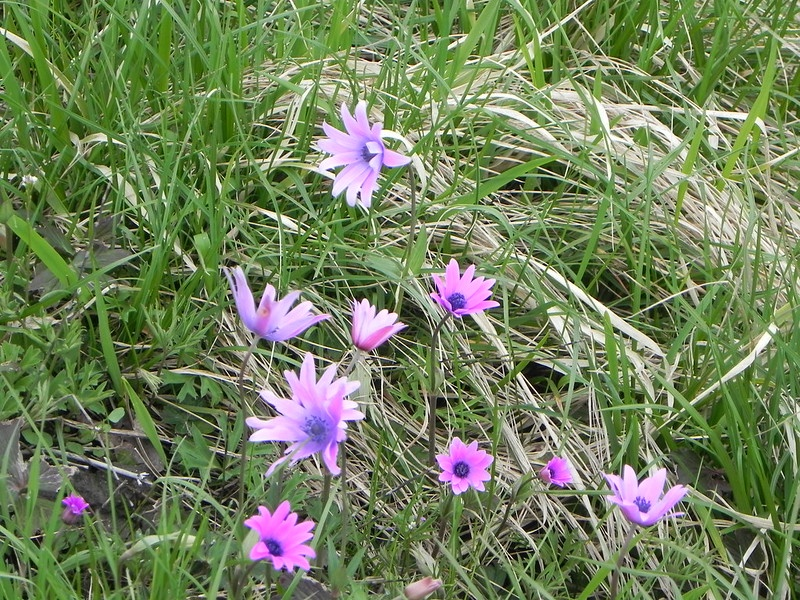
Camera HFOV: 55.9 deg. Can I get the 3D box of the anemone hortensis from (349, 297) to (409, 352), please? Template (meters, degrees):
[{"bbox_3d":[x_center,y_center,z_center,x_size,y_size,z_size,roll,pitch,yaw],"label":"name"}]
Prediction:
[{"bbox_3d":[-0.065,0.051,2.153,0.130,0.153,0.138,23,111,-19],"label":"anemone hortensis"}]

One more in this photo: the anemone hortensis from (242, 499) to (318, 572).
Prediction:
[{"bbox_3d":[-0.293,0.603,1.891,0.172,0.069,0.175,43,61,-3],"label":"anemone hortensis"}]

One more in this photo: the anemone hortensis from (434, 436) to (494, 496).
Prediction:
[{"bbox_3d":[0.185,0.473,2.256,0.172,0.188,0.099,3,95,15],"label":"anemone hortensis"}]

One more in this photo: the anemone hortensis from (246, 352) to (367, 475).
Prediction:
[{"bbox_3d":[-0.226,0.294,1.924,0.259,0.128,0.347,-10,91,-2],"label":"anemone hortensis"}]
